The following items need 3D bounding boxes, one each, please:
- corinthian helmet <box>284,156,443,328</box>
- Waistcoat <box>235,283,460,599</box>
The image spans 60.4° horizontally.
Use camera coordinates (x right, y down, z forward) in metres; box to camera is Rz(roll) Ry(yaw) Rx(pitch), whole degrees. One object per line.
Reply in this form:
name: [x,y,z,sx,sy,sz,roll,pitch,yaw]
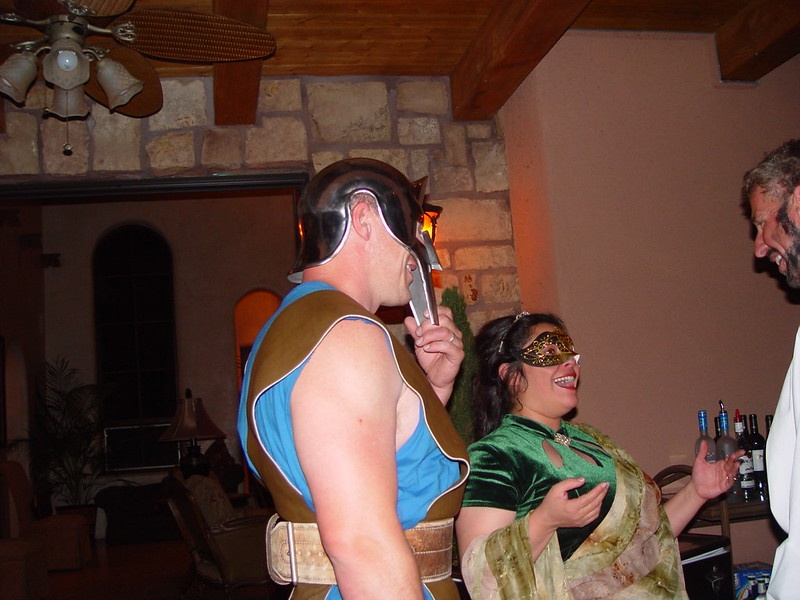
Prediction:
corinthian helmet: [-0.087,-0.163,1.971,0.419,0.501,0.340,-2,1,-11]
Waistcoat: [-0.137,0.361,1.895,0.373,0.878,0.527,3,-1,-15]
